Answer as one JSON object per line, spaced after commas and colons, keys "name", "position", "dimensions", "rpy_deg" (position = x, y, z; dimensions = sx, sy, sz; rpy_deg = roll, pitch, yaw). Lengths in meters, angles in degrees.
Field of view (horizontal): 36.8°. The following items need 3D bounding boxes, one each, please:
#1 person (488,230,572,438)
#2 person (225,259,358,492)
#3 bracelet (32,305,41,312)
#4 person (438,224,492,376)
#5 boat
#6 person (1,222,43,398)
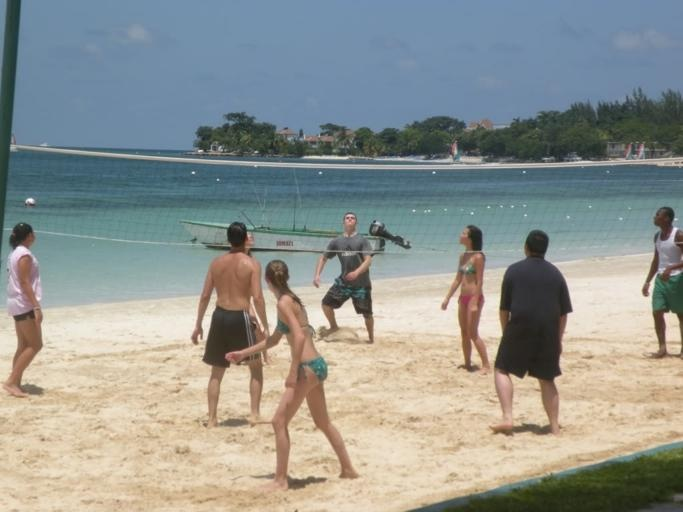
{"name": "person", "position": [1.952, 0.792, 10.561], "dimensions": [0.763, 2.092, 0.358], "rpy_deg": [2, 4, 10]}
{"name": "person", "position": [-0.460, 1.122, 9.918], "dimensions": [1.094, 2.157, 0.669], "rpy_deg": [4, 5, 38]}
{"name": "bracelet", "position": [-3.318, 0.581, 11.241], "dimensions": [0.065, 0.057, 0.077], "rpy_deg": [-1, 4, -27]}
{"name": "person", "position": [1.492, 0.513, 12.214], "dimensions": [0.571, 1.746, 0.652], "rpy_deg": [1, 4, 2]}
{"name": "boat", "position": [-1.222, -0.428, 22.875], "dimensions": [4.600, 0.738, 0.988], "rpy_deg": [5, -7, 5]}
{"name": "person", "position": [-3.535, 0.615, 11.418], "dimensions": [0.405, 1.948, 0.572], "rpy_deg": [0, 4, -18]}
